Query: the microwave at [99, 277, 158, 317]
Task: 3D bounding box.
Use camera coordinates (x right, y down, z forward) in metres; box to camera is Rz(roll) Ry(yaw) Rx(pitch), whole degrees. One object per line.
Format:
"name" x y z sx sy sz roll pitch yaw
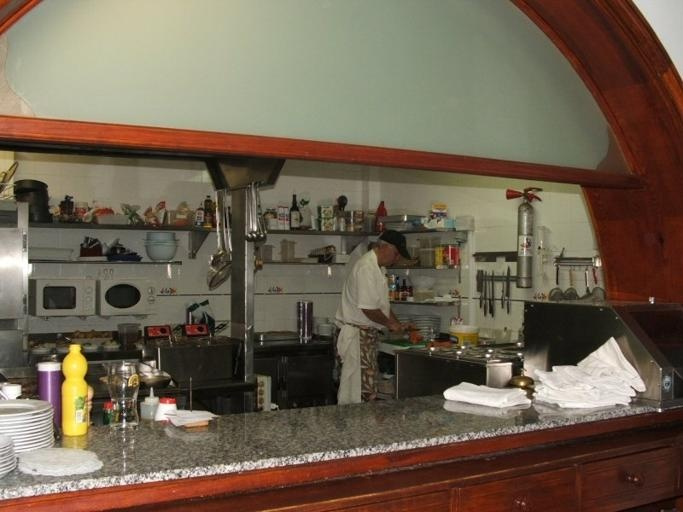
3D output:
"microwave" -2.011 0.381 5.620 0.341 0.333 0.597 -5 -6 32

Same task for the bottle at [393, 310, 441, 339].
"bottle" 0.732 0.667 6.128 0.425 0.119 0.288 1 2 -5

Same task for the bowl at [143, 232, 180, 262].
"bowl" -1.708 -0.091 6.005 0.336 0.228 0.314 -1 3 0

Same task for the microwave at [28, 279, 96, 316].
"microwave" -2.525 0.368 5.419 0.459 0.321 0.592 -3 -5 24

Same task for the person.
"person" 0.275 0.522 5.461 0.604 1.501 0.682 6 6 -11

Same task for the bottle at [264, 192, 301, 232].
"bottle" -0.593 -0.418 6.570 0.453 0.387 0.261 2 -4 -32

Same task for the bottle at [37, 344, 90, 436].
"bottle" -0.996 0.474 2.280 0.194 0.327 0.313 4 6 -25

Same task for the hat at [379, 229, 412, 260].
"hat" 0.465 -0.099 5.467 0.332 0.146 0.209 23 3 5

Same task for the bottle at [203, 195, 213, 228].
"bottle" -1.287 -0.410 6.110 0.111 0.247 0.302 6 6 -12

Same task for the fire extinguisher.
"fire extinguisher" 1.510 -0.158 5.311 0.250 0.857 0.387 7 6 -6
